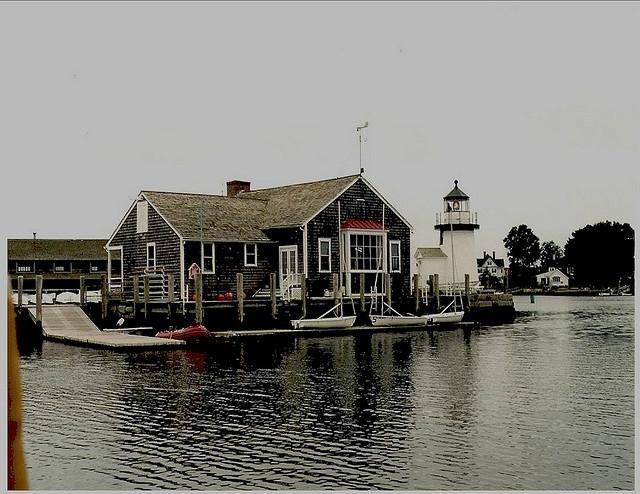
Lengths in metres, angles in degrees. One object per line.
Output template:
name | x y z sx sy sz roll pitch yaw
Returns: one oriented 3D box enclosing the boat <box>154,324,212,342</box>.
boat | -6.244 3.933 43.004 1.738 0.582 0.975 -4 -8 19
